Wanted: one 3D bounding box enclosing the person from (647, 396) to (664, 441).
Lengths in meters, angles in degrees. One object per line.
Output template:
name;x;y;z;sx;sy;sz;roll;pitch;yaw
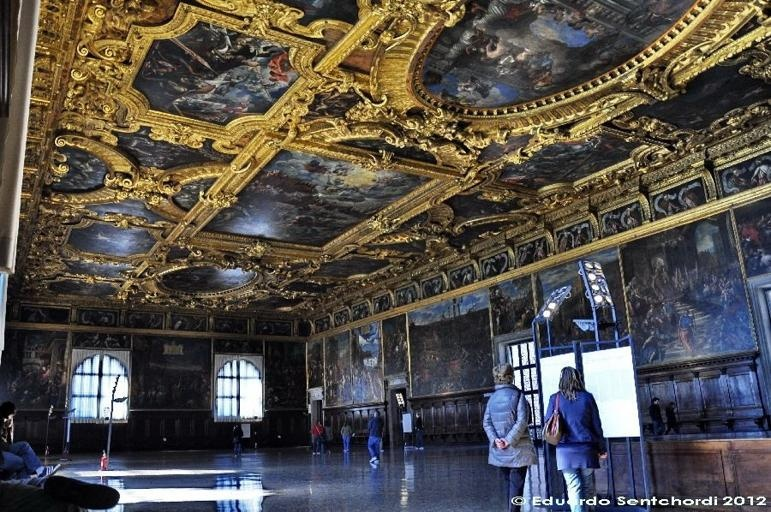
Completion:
person;8.351;4.885;19.037;0.448;1.118;0.720;-12;-22;17

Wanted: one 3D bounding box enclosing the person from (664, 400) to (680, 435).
person;8.679;4.875;18.808;0.385;0.955;0.365;-21;-27;34
